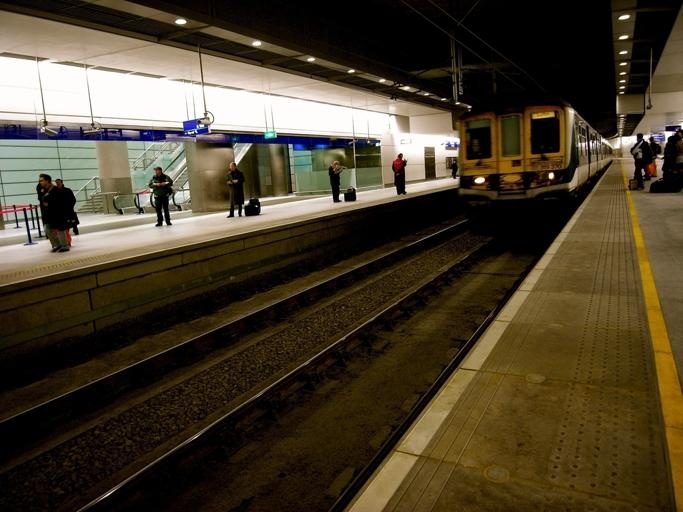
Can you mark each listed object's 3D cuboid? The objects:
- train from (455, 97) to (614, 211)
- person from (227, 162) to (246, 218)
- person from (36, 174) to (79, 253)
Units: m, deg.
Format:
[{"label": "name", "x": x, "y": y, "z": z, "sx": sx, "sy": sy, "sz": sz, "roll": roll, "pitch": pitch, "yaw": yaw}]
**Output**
[{"label": "train", "x": 4.206, "y": -2.485, "z": 11.414, "sx": 2.522, "sy": 2.501, "sz": 0.902, "roll": -2, "pitch": 16, "yaw": 14}, {"label": "person", "x": -3.529, "y": -2.185, "z": 15.312, "sx": 0.701, "sy": 1.745, "sz": 1.045, "roll": -10, "pitch": 15, "yaw": -13}, {"label": "person", "x": -6.157, "y": -0.949, "z": 10.105, "sx": 0.646, "sy": 1.648, "sz": 0.689, "roll": -14, "pitch": 17, "yaw": -26}]
